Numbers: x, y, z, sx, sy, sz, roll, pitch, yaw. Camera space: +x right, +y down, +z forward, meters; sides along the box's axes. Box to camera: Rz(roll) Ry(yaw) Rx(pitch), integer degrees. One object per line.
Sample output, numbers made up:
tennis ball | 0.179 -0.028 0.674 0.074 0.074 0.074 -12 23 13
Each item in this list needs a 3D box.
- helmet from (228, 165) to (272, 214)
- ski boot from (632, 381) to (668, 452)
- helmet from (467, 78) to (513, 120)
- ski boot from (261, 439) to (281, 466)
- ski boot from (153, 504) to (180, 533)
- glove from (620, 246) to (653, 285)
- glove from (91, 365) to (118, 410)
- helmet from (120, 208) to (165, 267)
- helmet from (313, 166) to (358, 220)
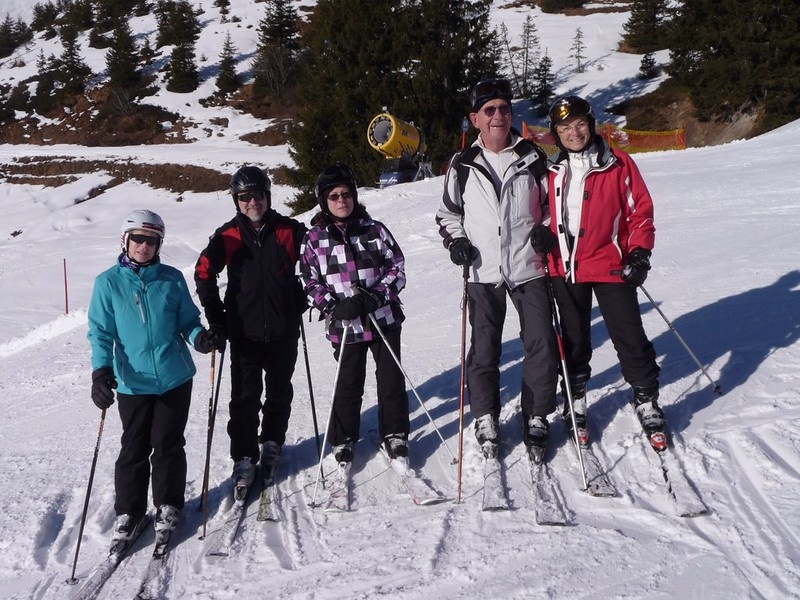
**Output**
helmet | -1.258 -0.961 6.221 0.286 0.386 0.378 -6 24 -7
ski boot | 1.962 0.926 5.873 0.174 0.290 0.607 -4 48 10
helmet | 0.758 -1.699 6.059 0.323 0.246 0.397 -4 16 7
ski boot | -1.094 1.281 6.195 0.153 0.221 0.481 5 -7 -11
ski boot | -1.808 1.691 5.731 0.150 0.207 0.162 3 -3 11
glove | 1.870 -0.266 5.784 0.198 0.304 0.267 0 17 19
glove | -2.258 0.670 5.669 0.217 0.312 0.109 -20 -3 18
helmet | -2.034 -0.543 5.910 0.297 0.420 0.407 6 2 -21
helmet | -0.580 -0.904 6.154 0.307 0.431 0.422 -10 7 -8
